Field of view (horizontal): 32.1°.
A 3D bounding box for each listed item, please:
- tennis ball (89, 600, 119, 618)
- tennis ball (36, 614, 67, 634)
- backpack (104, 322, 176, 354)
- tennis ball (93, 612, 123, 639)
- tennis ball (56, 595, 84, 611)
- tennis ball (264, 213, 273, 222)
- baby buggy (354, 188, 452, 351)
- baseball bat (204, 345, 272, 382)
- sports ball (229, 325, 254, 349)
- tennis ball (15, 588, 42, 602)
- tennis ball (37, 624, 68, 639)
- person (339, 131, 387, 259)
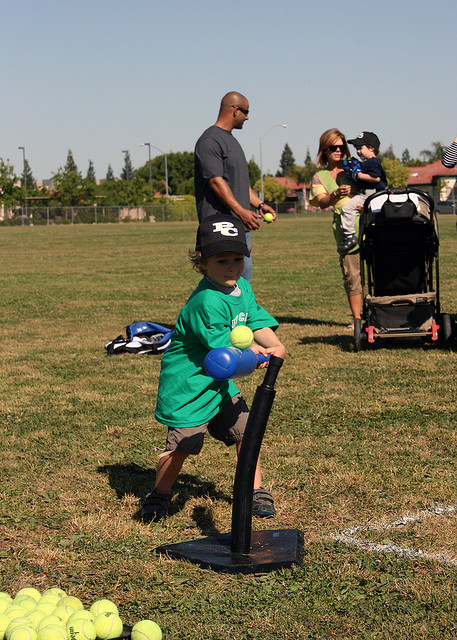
[{"bbox_3d":[-0.438,1.008,2.793,0.067,0.056,0.064,3,-7,0],"label":"tennis ball"},{"bbox_3d":[-0.607,1.029,2.723,0.073,0.062,0.066,11,-5,1],"label":"tennis ball"},{"bbox_3d":[-0.871,0.197,8.003,0.506,0.217,0.751,1,3,38],"label":"backpack"},{"bbox_3d":[-0.405,1.032,2.708,0.089,0.075,0.083,-5,1,0],"label":"tennis ball"},{"bbox_3d":[-0.575,1.016,2.873,0.054,0.052,0.058,42,14,-13],"label":"tennis ball"},{"bbox_3d":[0.314,-0.799,6.192,0.059,0.061,0.058,-7,-38,-6],"label":"tennis ball"},{"bbox_3d":[1.663,-0.467,7.553,1.100,1.443,1.034,1,7,-1],"label":"baby buggy"},{"bbox_3d":[0.024,0.157,2.938,0.085,0.071,0.329,40,15,15],"label":"baseball bat"},{"bbox_3d":[0.054,0.069,3.080,0.097,0.084,0.088,-5,-41,-4],"label":"sports ball"},{"bbox_3d":[-0.752,1.020,2.980,0.050,0.046,0.049,29,1,-1],"label":"tennis ball"},{"bbox_3d":[-0.590,1.044,2.661,0.064,0.055,0.061,12,-11,2],"label":"tennis ball"},{"bbox_3d":[1.350,-1.272,8.169,0.452,1.273,0.829,1,11,21],"label":"person"}]
